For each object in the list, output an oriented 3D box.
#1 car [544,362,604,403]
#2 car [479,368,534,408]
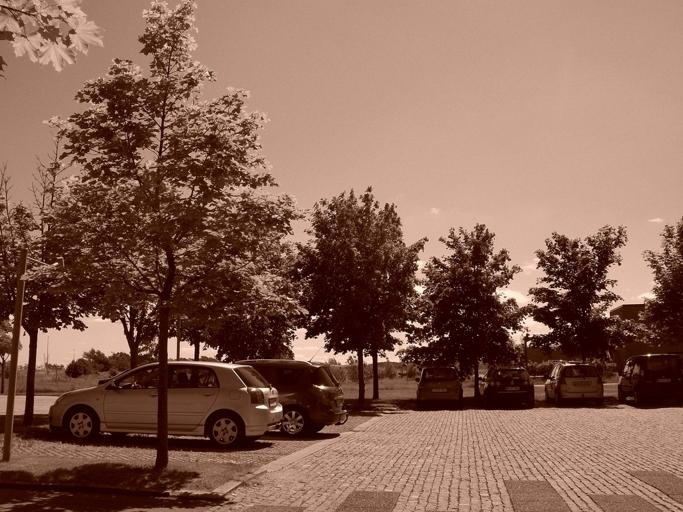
[{"bbox_3d":[10.375,5.826,30.242,1.652,1.410,2.854,-1,-7,9],"label":"car"},{"bbox_3d":[7.058,5.570,28.229,1.978,1.674,0.970,-7,-13,23],"label":"car"}]
